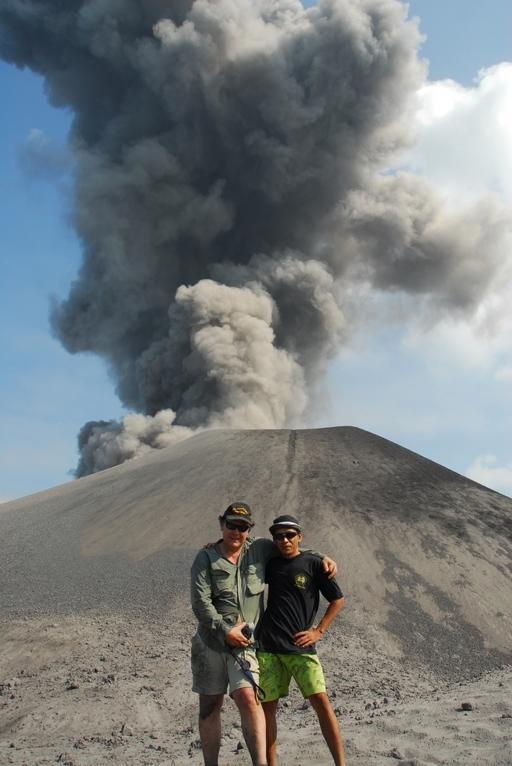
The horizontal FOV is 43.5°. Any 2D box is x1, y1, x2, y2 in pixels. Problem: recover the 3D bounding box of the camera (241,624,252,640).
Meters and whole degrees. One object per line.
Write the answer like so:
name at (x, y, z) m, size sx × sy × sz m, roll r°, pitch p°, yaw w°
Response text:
camera at (-0.053, 1.574, 4.079) m, size 0.063 × 0.083 × 0.032 m, roll -19°, pitch -6°, yaw -37°
